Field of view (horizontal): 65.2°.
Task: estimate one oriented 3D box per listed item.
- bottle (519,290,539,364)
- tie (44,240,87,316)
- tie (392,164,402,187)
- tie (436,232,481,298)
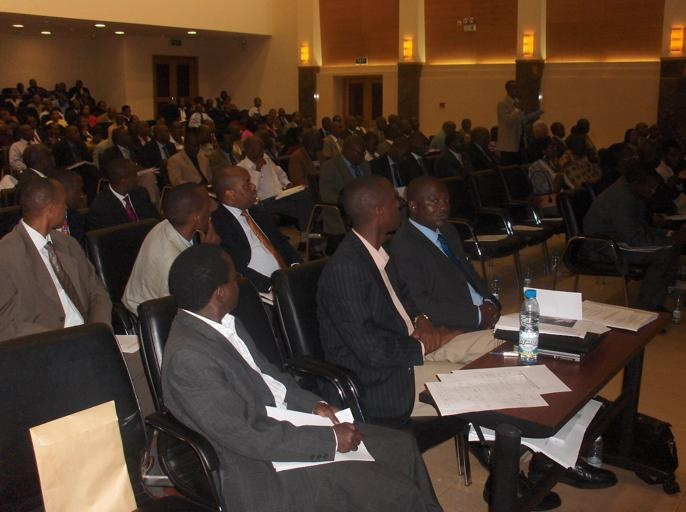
[{"bbox_3d":[0.782,0.280,2.254,0.081,0.261,0.301,3,13,20],"label":"bottle"},{"bbox_3d":[-1.460,0.129,2.809,0.050,0.431,0.061,-28,12,-2],"label":"tie"},{"bbox_3d":[0.654,-0.987,6.596,0.177,0.240,0.050,-9,3,-36],"label":"tie"},{"bbox_3d":[0.683,0.081,3.143,0.273,0.368,0.130,-8,4,-41],"label":"tie"}]
